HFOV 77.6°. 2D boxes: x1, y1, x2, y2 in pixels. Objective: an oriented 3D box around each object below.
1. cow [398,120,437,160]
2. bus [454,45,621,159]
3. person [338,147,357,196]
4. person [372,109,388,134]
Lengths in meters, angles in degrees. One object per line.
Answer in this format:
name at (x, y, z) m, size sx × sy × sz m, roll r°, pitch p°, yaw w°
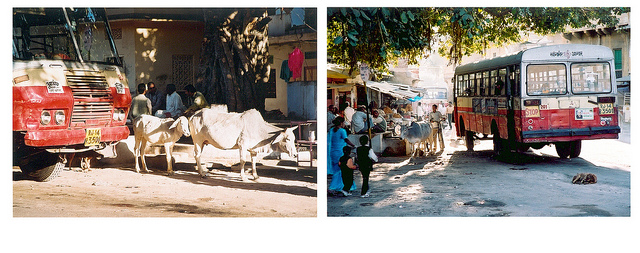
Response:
cow at (5.220, 0.712, 21.097) m, size 0.934 × 2.038 × 2.261 m, roll 3°, pitch 5°, yaw 41°
bus at (10.657, -1.391, 22.384) m, size 6.514 × 4.298 × 9.333 m, roll 0°, pitch 3°, yaw -19°
person at (1.162, 1.950, 17.323) m, size 0.630 × 2.148 × 0.477 m, roll -2°, pitch 5°, yaw -12°
person at (3.084, -0.253, 21.005) m, size 1.055 × 1.193 × 0.478 m, roll -4°, pitch 6°, yaw -44°
